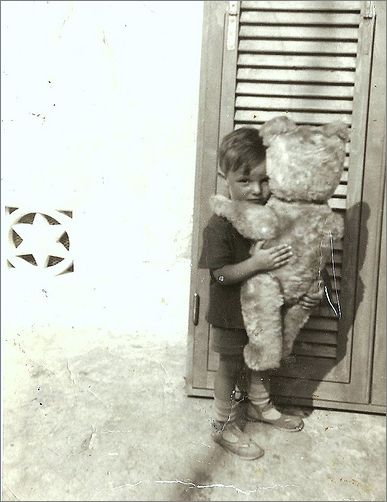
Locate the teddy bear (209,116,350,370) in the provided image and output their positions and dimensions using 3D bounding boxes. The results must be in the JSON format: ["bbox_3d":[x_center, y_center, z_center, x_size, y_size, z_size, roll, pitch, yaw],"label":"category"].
[{"bbox_3d":[0.224,-0.014,1.447,0.337,0.671,0.113,3,10,-4],"label":"teddy bear"}]

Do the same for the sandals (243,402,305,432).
[{"bbox_3d":[0.234,0.482,1.612,0.182,0.083,0.071,5,23,6],"label":"sandals"}]
